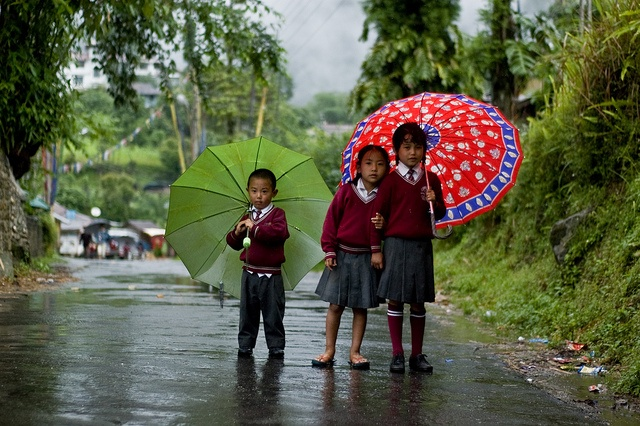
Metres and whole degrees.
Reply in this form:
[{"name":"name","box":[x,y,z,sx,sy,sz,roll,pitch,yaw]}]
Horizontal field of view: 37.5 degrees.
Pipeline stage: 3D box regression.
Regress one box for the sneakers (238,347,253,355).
[{"name":"sneakers","box":[-0.989,1.820,12.428,0.193,0.088,0.203,1,8,-6]}]

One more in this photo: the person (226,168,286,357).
[{"name":"person","box":[-0.807,0.654,12.446,0.760,2.421,0.649,1,8,-3]}]

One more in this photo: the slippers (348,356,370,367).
[{"name":"slippers","box":[0.491,1.912,12.120,0.275,0.128,0.308,2,8,2]}]

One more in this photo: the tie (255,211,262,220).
[{"name":"tie","box":[-0.822,0.026,12.485,0.099,0.090,0.023,-6,-14,36]}]

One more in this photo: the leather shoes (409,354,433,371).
[{"name":"leather shoes","box":[1.288,1.919,12.111,0.304,0.201,0.218,3,8,7]}]

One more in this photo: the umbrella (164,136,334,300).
[{"name":"umbrella","box":[-1.090,0.164,12.152,2.274,2.135,1.495,-1,0,6]}]

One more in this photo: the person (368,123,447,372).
[{"name":"person","box":[1.120,0.426,12.163,0.923,3.132,0.824,0,8,-8]}]

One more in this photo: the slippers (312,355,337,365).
[{"name":"slippers","box":[0.052,1.896,12.102,0.342,0.115,0.225,-1,8,-18]}]

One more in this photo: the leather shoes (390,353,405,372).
[{"name":"leather shoes","box":[0.983,1.908,12.067,0.186,0.211,0.265,2,8,5]}]

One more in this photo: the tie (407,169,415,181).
[{"name":"tie","box":[1.163,-0.486,12.177,0.081,0.131,0.034,20,-10,4]}]
